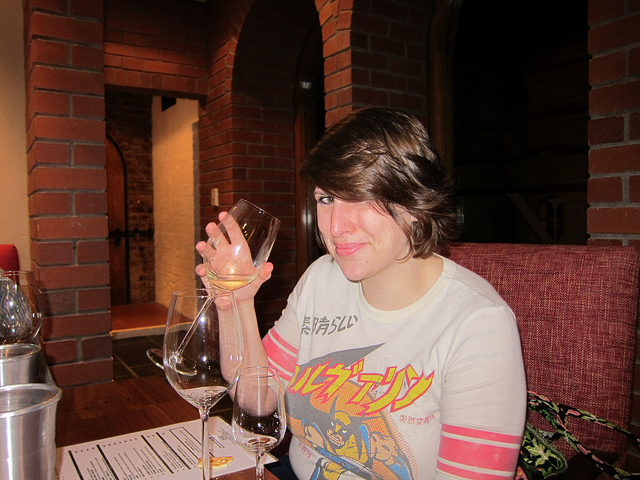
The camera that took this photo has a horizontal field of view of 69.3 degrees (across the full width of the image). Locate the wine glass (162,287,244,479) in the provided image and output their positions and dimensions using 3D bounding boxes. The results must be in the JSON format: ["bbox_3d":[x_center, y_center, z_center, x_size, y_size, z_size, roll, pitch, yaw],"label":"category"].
[{"bbox_3d":[-0.241,0.278,0.984,0.156,0.356,0.335,-5,9,-12],"label":"wine glass"}]

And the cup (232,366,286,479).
[{"bbox_3d":[-0.117,0.350,0.885,0.083,0.172,0.088,-3,9,1],"label":"cup"}]
